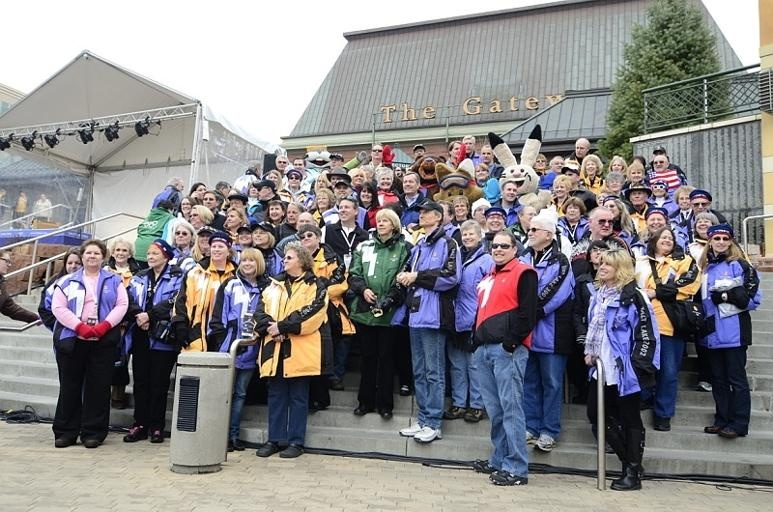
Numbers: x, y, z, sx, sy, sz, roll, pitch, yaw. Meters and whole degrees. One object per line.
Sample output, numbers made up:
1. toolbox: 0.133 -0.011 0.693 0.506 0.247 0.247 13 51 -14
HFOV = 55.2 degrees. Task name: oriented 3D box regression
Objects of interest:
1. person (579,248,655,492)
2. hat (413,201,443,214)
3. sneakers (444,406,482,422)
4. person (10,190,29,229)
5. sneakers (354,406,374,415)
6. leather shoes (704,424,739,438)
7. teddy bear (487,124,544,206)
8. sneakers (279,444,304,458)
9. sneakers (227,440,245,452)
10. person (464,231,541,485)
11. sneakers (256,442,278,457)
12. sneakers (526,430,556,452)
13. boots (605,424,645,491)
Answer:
1. person: 3.378 1.596 10.586 1.013 3.413 0.467 -2 -9 16
2. hat: 0.712 -0.764 11.684 0.321 0.113 0.199 5 -5 -20
3. sneakers: 1.197 2.459 11.461 0.607 0.248 0.218 6 -12 4
4. person: -10.800 -1.343 21.760 0.675 1.123 0.308 -4 -10 29
5. sneakers: -0.352 2.472 11.707 0.297 0.111 0.112 10 -17 -34
6. leather shoes: 5.031 2.623 11.079 0.416 0.157 0.174 3 5 16
7. teddy bear: 2.614 -1.542 14.641 1.263 2.002 0.761 -2 -13 15
8. sneakers: -1.399 2.950 11.056 0.305 0.116 0.155 14 -19 -40
9. sneakers: -2.272 2.892 11.206 0.249 0.168 0.161 3 -8 -13
10. person: 1.722 1.432 10.461 0.908 3.567 0.580 -4 -10 29
11. sneakers: -1.766 2.935 11.098 0.150 0.125 0.304 -3 -13 20
12. sneakers: 2.304 2.786 10.970 0.224 0.222 0.519 53 -19 -27
13. boots: 3.350 2.842 10.356 0.505 0.880 0.215 2 -9 -11
